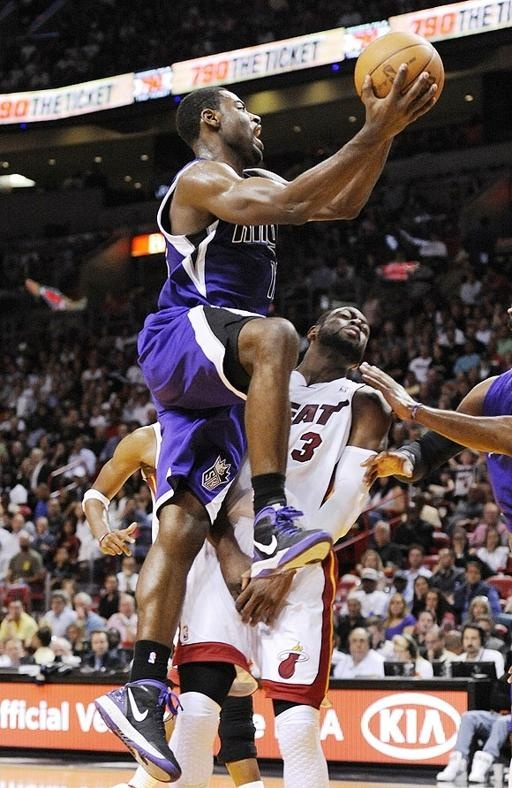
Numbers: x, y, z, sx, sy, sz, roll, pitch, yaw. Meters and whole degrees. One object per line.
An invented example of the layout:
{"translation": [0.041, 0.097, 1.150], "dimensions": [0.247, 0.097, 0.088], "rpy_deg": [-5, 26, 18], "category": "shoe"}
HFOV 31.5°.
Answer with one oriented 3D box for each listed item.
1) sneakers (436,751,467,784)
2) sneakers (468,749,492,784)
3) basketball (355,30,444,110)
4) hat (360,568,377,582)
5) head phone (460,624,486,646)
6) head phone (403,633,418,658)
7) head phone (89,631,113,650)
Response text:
{"translation": [1.250, 2.384, 5.770], "dimensions": [0.128, 0.151, 0.246], "rpy_deg": [7, 15, 35], "category": "sneakers"}
{"translation": [1.420, 2.396, 5.746], "dimensions": [0.116, 0.200, 0.220], "rpy_deg": [4, 15, 27], "category": "sneakers"}
{"translation": [0.425, -0.995, 2.720], "dimensions": [0.255, 0.231, 0.314], "rpy_deg": [-1, 13, 8], "category": "basketball"}
{"translation": [1.183, 1.894, 9.450], "dimensions": [0.144, 0.113, 0.104], "rpy_deg": [-10, -1, -22], "category": "hat"}
{"translation": [1.728, 1.902, 7.173], "dimensions": [0.147, 0.172, 0.157], "rpy_deg": [-6, 48, -7], "category": "head phone"}
{"translation": [1.271, 2.093, 7.472], "dimensions": [0.074, 0.184, 0.184], "rpy_deg": [-26, -5, -13], "category": "head phone"}
{"translation": [-1.543, 2.437, 8.926], "dimensions": [0.173, 0.210, 0.234], "rpy_deg": [-5, 13, -10], "category": "head phone"}
